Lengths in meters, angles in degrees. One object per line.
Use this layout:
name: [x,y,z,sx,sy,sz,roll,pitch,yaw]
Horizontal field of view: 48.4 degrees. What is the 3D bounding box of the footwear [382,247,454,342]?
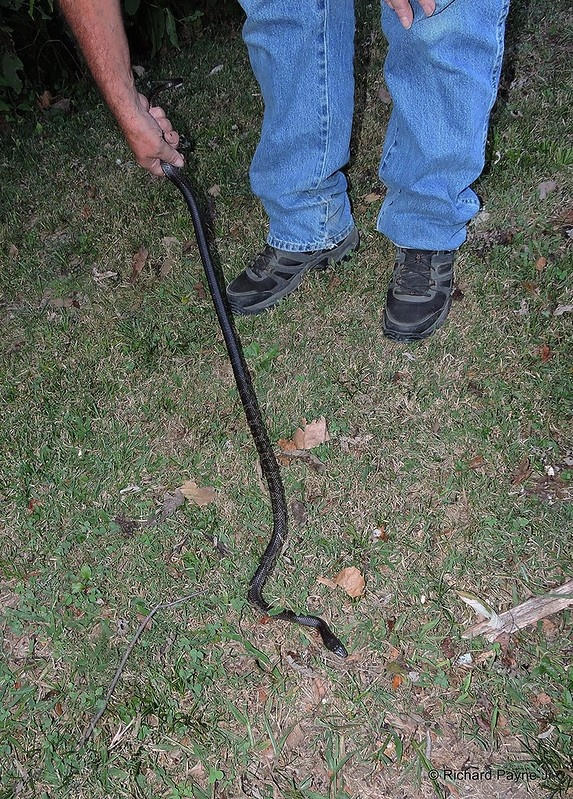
footwear: [0.538,-0.440,2.606,0.170,0.202,0.516,9,90,13]
